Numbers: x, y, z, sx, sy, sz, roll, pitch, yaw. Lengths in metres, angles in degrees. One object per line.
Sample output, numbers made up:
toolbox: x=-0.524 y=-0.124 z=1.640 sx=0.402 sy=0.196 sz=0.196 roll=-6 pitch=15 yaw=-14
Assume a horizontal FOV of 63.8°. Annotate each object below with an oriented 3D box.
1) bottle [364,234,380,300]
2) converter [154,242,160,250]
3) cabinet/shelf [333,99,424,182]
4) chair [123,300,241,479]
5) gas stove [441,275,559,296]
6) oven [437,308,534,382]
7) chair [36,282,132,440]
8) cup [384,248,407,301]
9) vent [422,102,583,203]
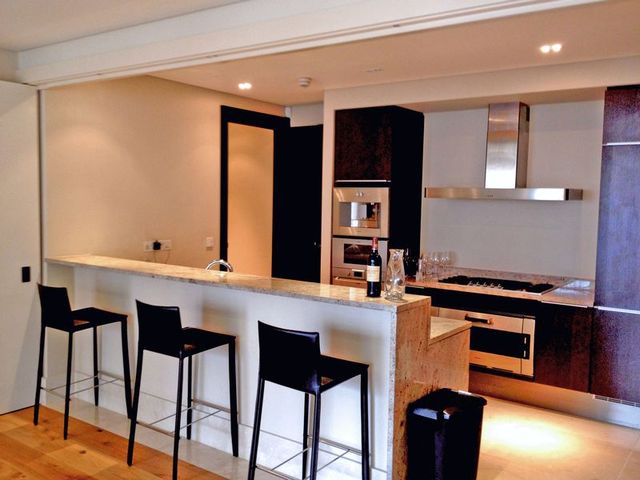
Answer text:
bottle: x=0.351 y=0.170 z=3.269 sx=0.087 sy=0.394 sz=0.260 roll=3 pitch=5 yaw=6
converter: x=-1.692 y=0.058 z=5.322 sx=0.017 sy=0.069 sz=0.071 roll=3 pitch=5 yaw=42
cabinet/shelf: x=0.594 y=-0.947 z=5.800 sx=1.038 sy=1.013 sz=0.769 roll=2 pitch=3 yaw=40
chair: x=-1.035 y=1.039 z=3.821 sx=0.699 sy=1.232 sz=0.663 roll=7 pitch=7 yaw=42
gas stove: x=1.721 y=0.418 z=5.008 sx=1.031 sy=0.056 sz=0.612 roll=5 pitch=5 yaw=29
oven: x=1.445 y=1.007 z=5.011 sx=1.117 sy=0.534 sz=0.704 roll=8 pitch=-16 yaw=4
chair: x=-2.065 y=0.936 z=4.383 sx=0.935 sy=1.204 sz=0.656 roll=7 pitch=7 yaw=43
cup: x=0.489 y=0.217 z=3.299 sx=0.123 sy=0.310 sz=0.191 roll=3 pitch=5 yaw=7
vent: x=1.868 y=-0.863 z=5.070 sx=0.477 sy=0.937 sz=1.481 roll=0 pitch=6 yaw=-39
